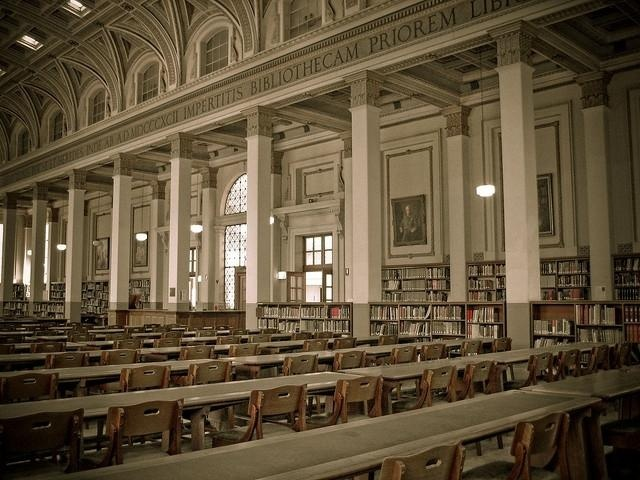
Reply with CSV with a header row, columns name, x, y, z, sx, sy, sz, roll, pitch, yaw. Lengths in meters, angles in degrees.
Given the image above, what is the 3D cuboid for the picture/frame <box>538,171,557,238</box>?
name,x,y,z,sx,sy,sz,roll,pitch,yaw
picture/frame,5.124,-0.790,12.287,0.403,1.420,0.104,-9,-11,44
